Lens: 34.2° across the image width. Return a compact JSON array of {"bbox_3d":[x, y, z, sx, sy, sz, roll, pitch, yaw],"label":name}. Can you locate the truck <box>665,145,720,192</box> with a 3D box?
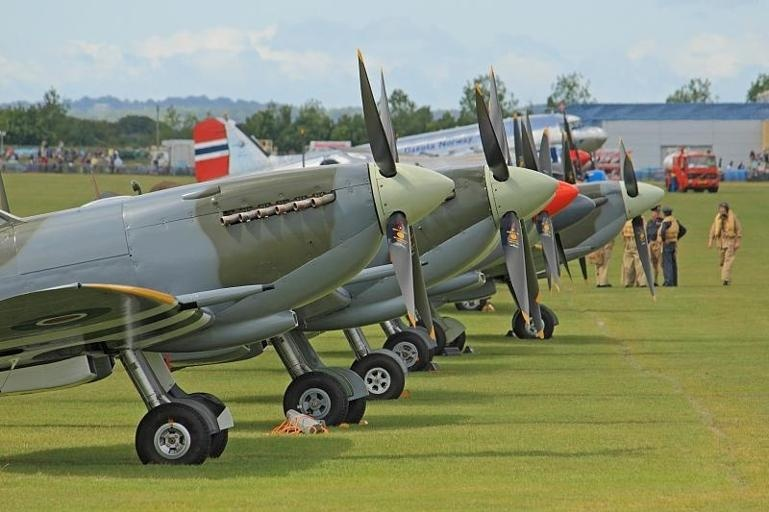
[{"bbox_3d":[17.267,-4.858,70.824,2.354,2.442,3.077,-4,11,0],"label":"truck"}]
